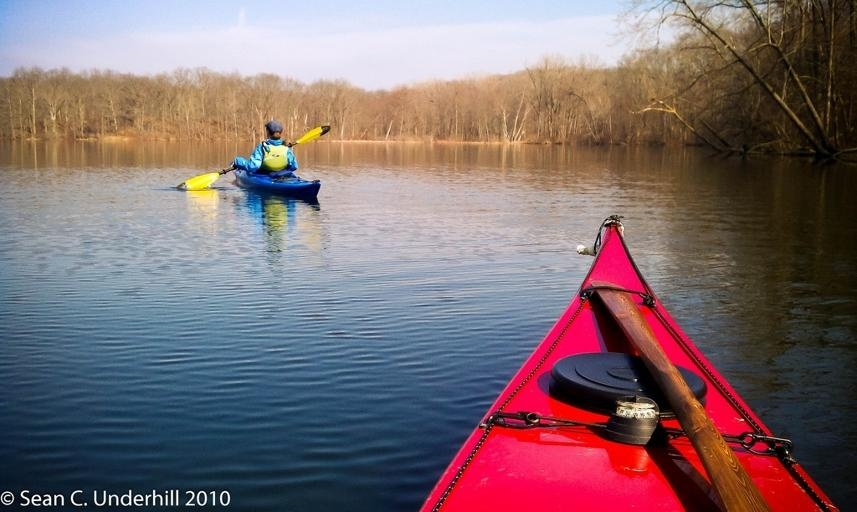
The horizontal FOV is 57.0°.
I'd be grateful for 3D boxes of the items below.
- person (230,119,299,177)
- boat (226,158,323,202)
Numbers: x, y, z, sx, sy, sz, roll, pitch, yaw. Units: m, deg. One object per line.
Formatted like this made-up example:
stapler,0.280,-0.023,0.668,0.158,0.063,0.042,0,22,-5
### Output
person,-4.404,-2.886,21.060,1.348,0.932,1.862,0,15,-20
boat,-3.993,-1.923,20.321,0.894,0.457,2.956,-13,17,-39
